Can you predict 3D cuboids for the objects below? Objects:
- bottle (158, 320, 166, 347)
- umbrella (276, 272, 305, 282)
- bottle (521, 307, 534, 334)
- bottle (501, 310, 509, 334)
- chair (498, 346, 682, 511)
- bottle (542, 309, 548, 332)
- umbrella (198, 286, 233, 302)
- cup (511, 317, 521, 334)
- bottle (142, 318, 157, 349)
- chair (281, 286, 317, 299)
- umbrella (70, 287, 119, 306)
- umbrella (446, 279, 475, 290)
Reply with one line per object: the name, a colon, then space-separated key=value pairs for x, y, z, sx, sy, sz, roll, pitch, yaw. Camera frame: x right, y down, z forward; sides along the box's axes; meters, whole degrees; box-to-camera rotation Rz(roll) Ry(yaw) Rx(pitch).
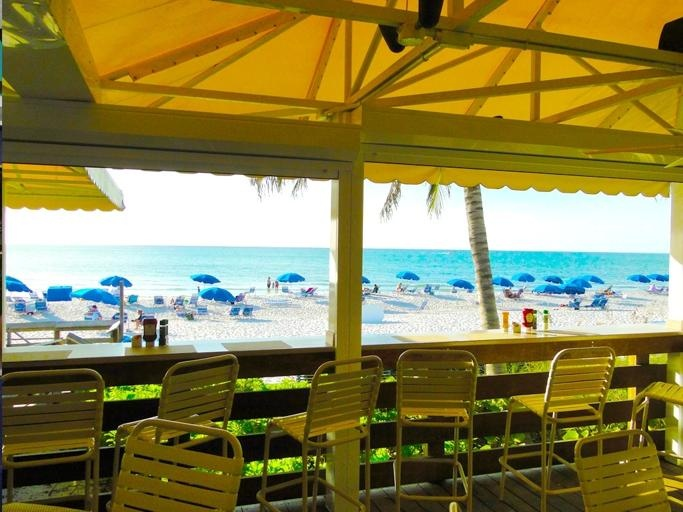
bottle: x=-1.284 y=0.548 z=3.678 sx=0.052 sy=0.182 sz=0.187 roll=1 pitch=-3 yaw=-21
umbrella: x=-2.222 y=0.957 z=22.723 sx=0.925 sy=0.432 sz=1.606 roll=0 pitch=-2 yaw=3
bottle: x=1.637 y=0.547 z=4.451 sx=0.112 sy=0.185 sz=0.227 roll=-1 pitch=-2 yaw=19
bottle: x=1.439 y=0.572 z=4.462 sx=0.063 sy=0.166 sz=0.160 roll=-1 pitch=-2 yaw=17
chair: x=1.566 y=1.218 z=3.786 sx=0.767 sy=1.202 sz=1.142 roll=-1 pitch=-2 yaw=15
bottle: x=1.797 y=0.565 z=4.490 sx=0.038 sy=0.178 sz=0.229 roll=-1 pitch=-3 yaw=26
umbrella: x=-4.265 y=1.326 z=17.636 sx=1.222 sy=0.317 sz=1.083 roll=5 pitch=0 yaw=3
cup: x=1.500 y=0.613 z=4.426 sx=0.108 sy=0.091 sz=0.093 roll=0 pitch=-1 yaw=13
bottle: x=-1.360 y=0.539 z=3.624 sx=0.101 sy=0.198 sz=0.194 roll=1 pitch=-2 yaw=-19
chair: x=-2.095 y=1.822 z=25.468 sx=1.438 sy=0.442 sz=0.706 roll=2 pitch=2 yaw=-5
umbrella: x=-8.427 y=1.397 z=17.435 sx=1.305 sy=0.360 sz=1.270 roll=7 pitch=-6 yaw=36
umbrella: x=5.959 y=1.397 z=24.758 sx=0.898 sy=0.232 sz=0.808 roll=9 pitch=-3 yaw=-19
